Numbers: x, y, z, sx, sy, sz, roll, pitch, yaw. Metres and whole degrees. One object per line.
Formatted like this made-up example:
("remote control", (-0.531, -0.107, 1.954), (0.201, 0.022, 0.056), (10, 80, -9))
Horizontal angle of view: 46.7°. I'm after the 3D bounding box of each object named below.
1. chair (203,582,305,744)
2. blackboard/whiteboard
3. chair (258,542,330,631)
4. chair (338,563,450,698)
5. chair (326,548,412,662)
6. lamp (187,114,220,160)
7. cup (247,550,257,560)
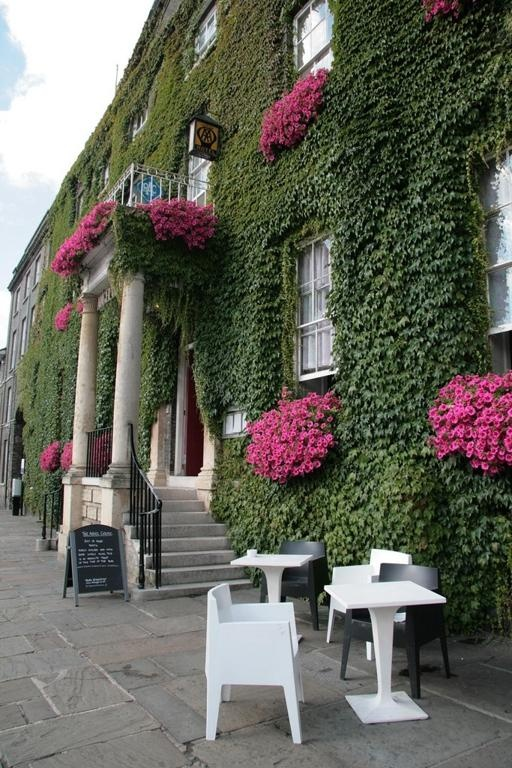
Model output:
("chair", (-0.003, 1.374, 3.005), (0.458, 0.649, 0.595), (-3, -9, 8))
("blackboard/whiteboard", (-1.639, 1.811, 6.127), (0.534, 0.802, 0.439), (4, -27, -34))
("chair", (0.329, 1.698, 5.109), (0.608, 0.725, 0.657), (6, -14, -15))
("chair", (0.859, 1.460, 3.653), (0.479, 0.704, 0.519), (12, -16, -38))
("chair", (0.807, 1.689, 4.437), (0.517, 0.766, 0.580), (-8, -31, 8))
("lamp", (-0.784, -3.744, 8.990), (0.268, 0.606, 0.555), (-7, -10, 40))
("cup", (-0.031, 1.345, 4.723), (0.075, 0.060, 0.081), (-2, -11, 0))
